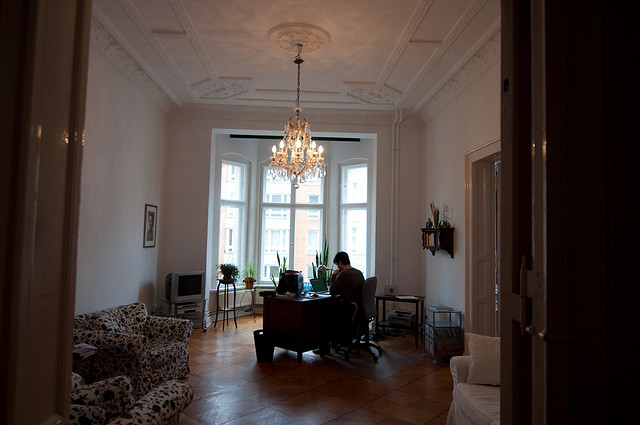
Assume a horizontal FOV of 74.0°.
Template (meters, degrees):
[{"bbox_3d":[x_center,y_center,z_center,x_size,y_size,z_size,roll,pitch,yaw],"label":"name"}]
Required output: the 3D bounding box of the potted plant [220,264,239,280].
[{"bbox_3d":[-1.583,1.032,7.353,0.237,0.250,0.248,4,-8,-11],"label":"potted plant"}]

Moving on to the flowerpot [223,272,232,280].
[{"bbox_3d":[-1.593,1.100,7.335,0.114,0.144,0.120,0,-1,15],"label":"flowerpot"}]

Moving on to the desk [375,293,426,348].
[{"bbox_3d":[1.303,1.751,6.806,0.785,0.860,0.414,-2,-6,29],"label":"desk"}]

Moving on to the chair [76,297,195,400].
[{"bbox_3d":[-1.864,1.363,4.381,1.037,1.031,1.117,-9,-10,19],"label":"chair"}]

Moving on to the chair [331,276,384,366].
[{"bbox_3d":[0.608,1.542,6.270,0.926,1.548,1.026,0,-8,7],"label":"chair"}]

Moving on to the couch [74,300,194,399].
[{"bbox_3d":[-1.945,1.429,4.472,0.750,0.840,1.072,-1,-6,7],"label":"couch"}]

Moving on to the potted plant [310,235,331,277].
[{"bbox_3d":[0.003,0.950,9.091,0.405,0.919,0.578,0,-1,7],"label":"potted plant"}]

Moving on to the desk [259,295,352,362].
[{"bbox_3d":[-0.336,1.370,6.037,0.991,0.946,1.887,-2,-5,37],"label":"desk"}]

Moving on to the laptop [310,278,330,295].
[{"bbox_3d":[-0.005,1.066,6.092,0.198,0.142,0.216,-6,-10,44],"label":"laptop"}]

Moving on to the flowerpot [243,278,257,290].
[{"bbox_3d":[-1.422,1.430,8.504,0.211,0.171,0.223,0,-7,-4],"label":"flowerpot"}]

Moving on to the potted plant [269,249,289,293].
[{"bbox_3d":[-0.855,1.207,8.821,0.392,0.726,1.030,1,-1,-7],"label":"potted plant"}]

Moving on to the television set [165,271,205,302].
[{"bbox_3d":[-2.152,1.172,6.793,0.300,0.499,0.586,8,5,43],"label":"television set"}]

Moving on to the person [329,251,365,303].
[{"bbox_3d":[0.399,1.056,6.007,0.480,0.982,0.519,-7,1,7],"label":"person"}]
